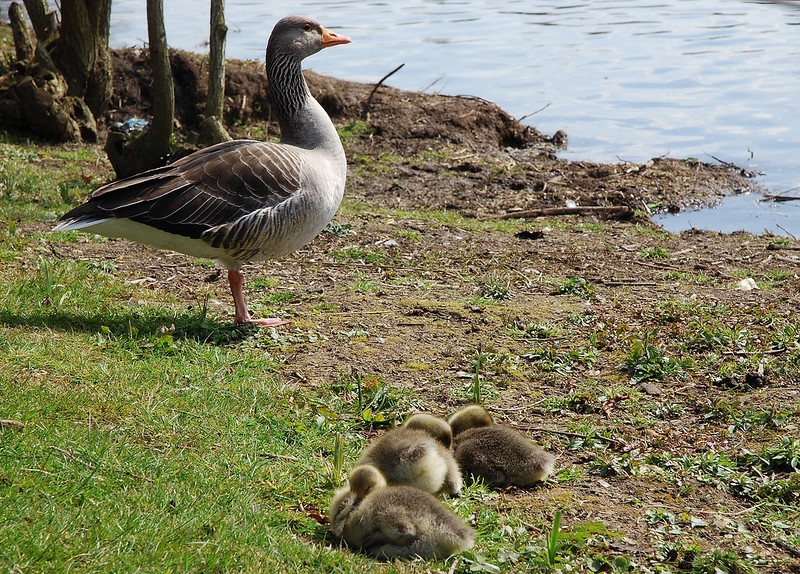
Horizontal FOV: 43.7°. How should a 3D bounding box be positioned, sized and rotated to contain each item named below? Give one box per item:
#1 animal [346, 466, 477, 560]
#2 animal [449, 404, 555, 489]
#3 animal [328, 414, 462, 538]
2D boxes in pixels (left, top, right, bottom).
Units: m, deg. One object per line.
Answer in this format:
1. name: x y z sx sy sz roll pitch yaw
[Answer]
1. animal: 0.017 1.806 8.007 1.093 0.501 0.672 14 -13 14
2. animal: 0.779 1.397 8.701 0.555 0.382 0.943 -35 43 -30
3. animal: 0.031 1.543 8.357 0.810 0.355 1.114 21 34 37
